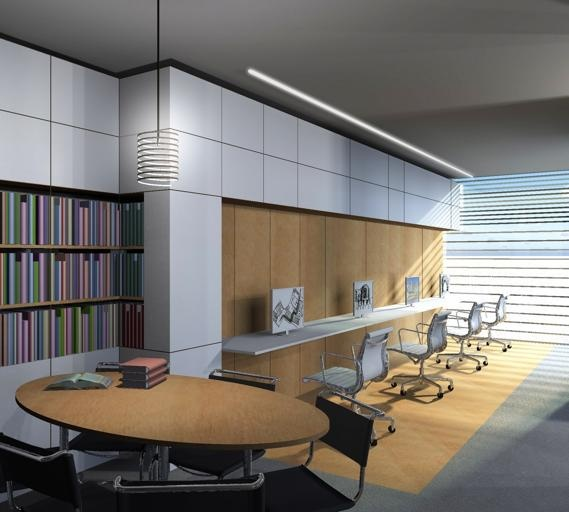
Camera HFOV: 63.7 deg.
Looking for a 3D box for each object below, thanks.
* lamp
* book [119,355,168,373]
[{"bbox_3d":[-0.861,-1.063,3.111,0.291,1.264,1.171,-1,2,-15],"label":"lamp"},{"bbox_3d":[-0.919,0.712,3.010,0.160,0.036,0.166,3,2,23],"label":"book"}]
